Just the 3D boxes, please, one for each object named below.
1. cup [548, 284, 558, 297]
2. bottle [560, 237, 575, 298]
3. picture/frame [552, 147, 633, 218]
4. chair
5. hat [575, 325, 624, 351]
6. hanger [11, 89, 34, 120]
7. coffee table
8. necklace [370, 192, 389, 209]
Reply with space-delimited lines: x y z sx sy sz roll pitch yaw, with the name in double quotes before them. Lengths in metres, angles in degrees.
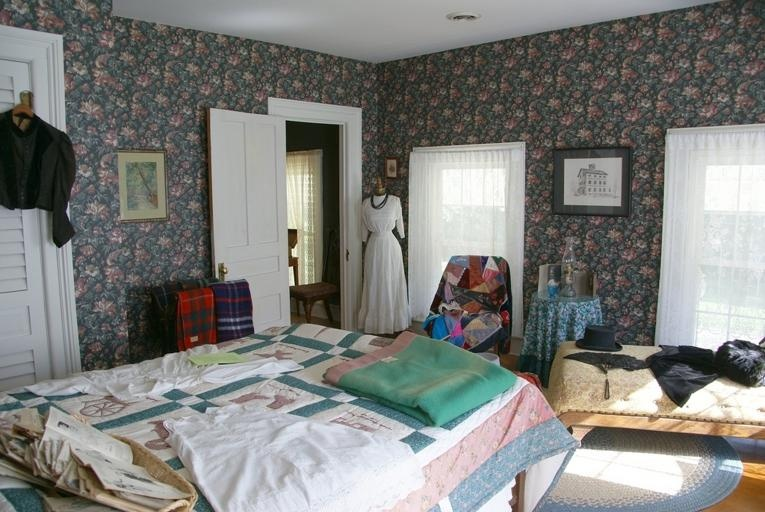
"cup" 1.628 0.340 5.091 0.104 0.105 0.102 -1 7 0
"bottle" 1.790 0.107 5.124 0.123 0.550 0.243 2 7 19
"picture/frame" 2.081 -0.719 5.176 0.736 0.695 0.061 2 4 41
"chair" 0.872 0.498 5.333 0.967 0.931 0.525 4 17 24
"hat" 1.792 0.681 4.375 0.263 0.098 0.216 -2 4 12
"hanger" -2.504 -1.058 3.696 0.128 0.195 0.072 -5 8 -32
"coffee table" 1.717 0.828 5.333 0.798 0.813 0.870 3 5 31
"necklace" -0.039 -0.642 6.250 0.188 0.202 0.075 -3 -5 14
